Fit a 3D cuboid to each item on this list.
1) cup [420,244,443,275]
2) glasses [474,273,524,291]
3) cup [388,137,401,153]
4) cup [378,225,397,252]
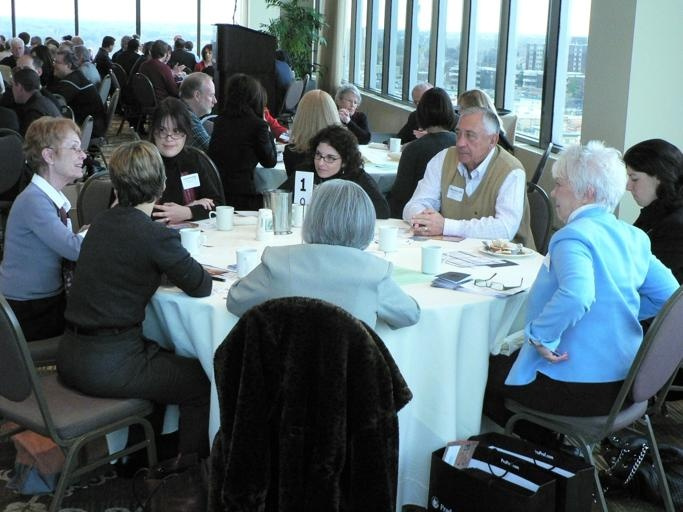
[{"bbox_3d":[0.351,0.016,2.159,0.069,0.111,0.112,6,7,41],"label":"cup"},{"bbox_3d":[0.596,0.102,2.093,0.089,0.028,0.096,13,18,41],"label":"glasses"},{"bbox_3d":[0.488,-0.979,4.964,0.147,0.151,0.090,3,7,31],"label":"cup"},{"bbox_3d":[0.198,-0.065,2.415,0.065,0.110,0.111,0,7,3],"label":"cup"}]
